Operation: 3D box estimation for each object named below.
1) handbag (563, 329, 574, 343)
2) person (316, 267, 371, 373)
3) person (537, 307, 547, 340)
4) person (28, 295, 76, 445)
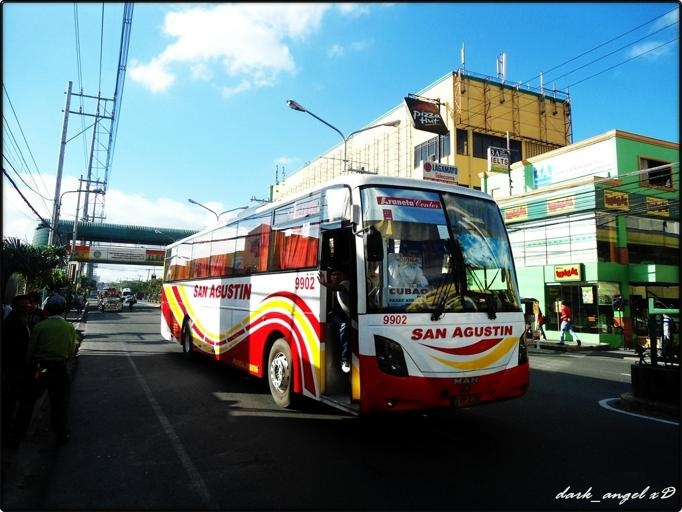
[{"bbox_3d":[10.370,3.659,22.048,0.437,0.616,0.827,-3,-2,12],"label":"handbag"},{"bbox_3d":[-0.015,1.029,7.965,0.450,1.485,0.913,3,-8,-36],"label":"person"},{"bbox_3d":[9.872,3.291,23.700,0.411,1.614,2.329,0,-2,23],"label":"person"},{"bbox_3d":[-4.471,1.725,7.472,0.542,2.223,0.452,1,-2,-19],"label":"person"}]
